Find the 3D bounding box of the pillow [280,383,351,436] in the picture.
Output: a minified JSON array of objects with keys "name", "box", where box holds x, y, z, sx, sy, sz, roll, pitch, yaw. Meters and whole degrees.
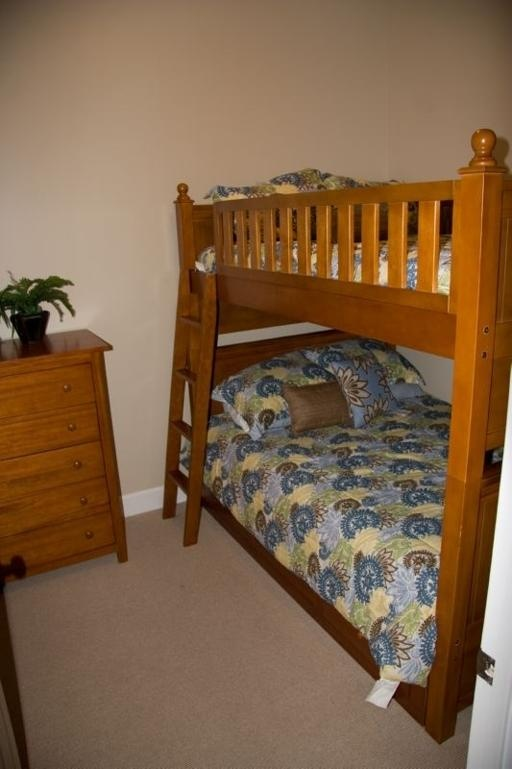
[{"name":"pillow","box":[0.282,0.102,2.576,0.321,0.205,0.086,-8,-18,-26]}]
